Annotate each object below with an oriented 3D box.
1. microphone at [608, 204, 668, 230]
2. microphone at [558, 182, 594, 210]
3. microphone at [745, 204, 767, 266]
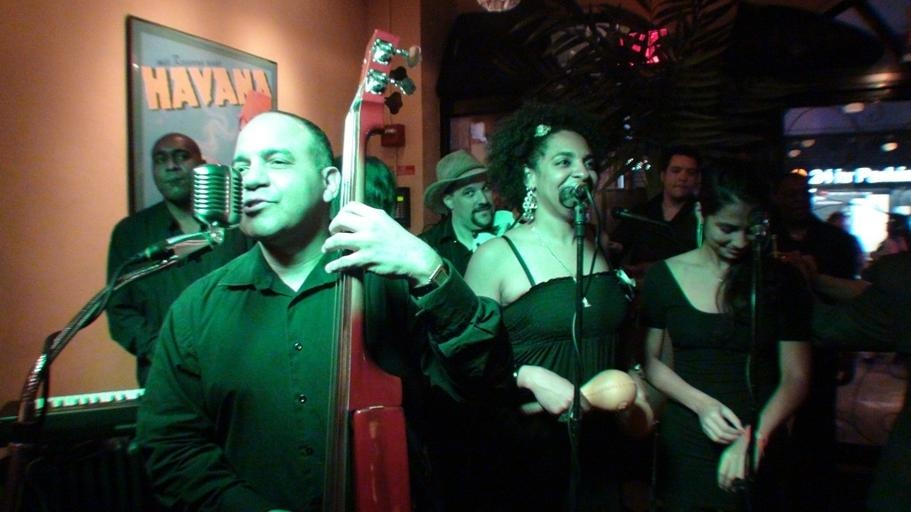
[{"bbox_3d":[1.333,-0.294,5.121,0.374,0.100,0.086,19,3,-14],"label":"microphone"},{"bbox_3d":[0.715,-0.365,4.259,0.127,0.200,0.203,14,47,4],"label":"microphone"},{"bbox_3d":[1.856,-0.134,4.376,0.126,0.380,0.115,-2,-3,-12],"label":"microphone"}]
